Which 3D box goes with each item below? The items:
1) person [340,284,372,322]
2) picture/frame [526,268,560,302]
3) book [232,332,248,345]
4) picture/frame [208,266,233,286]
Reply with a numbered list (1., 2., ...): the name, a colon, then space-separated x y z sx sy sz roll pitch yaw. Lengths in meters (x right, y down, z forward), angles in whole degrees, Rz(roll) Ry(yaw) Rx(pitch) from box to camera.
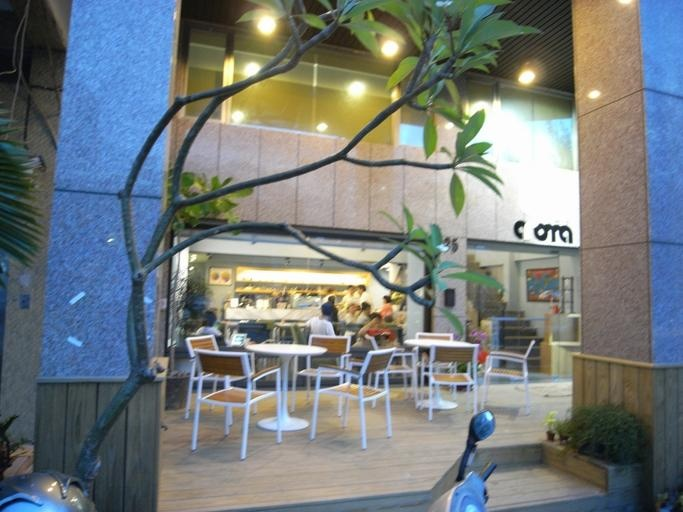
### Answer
1. person: 0.193 0.706 9.000 0.475 0.716 0.302 6 -5 -17
2. picture/frame: 3.422 0.525 10.333 0.567 0.521 0.040 1 -4 -19
3. book: -1.449 1.178 8.597 0.186 0.161 0.149 -2 -4 -12
4. picture/frame: -1.724 0.312 8.513 0.260 0.183 0.036 3 -14 -22
